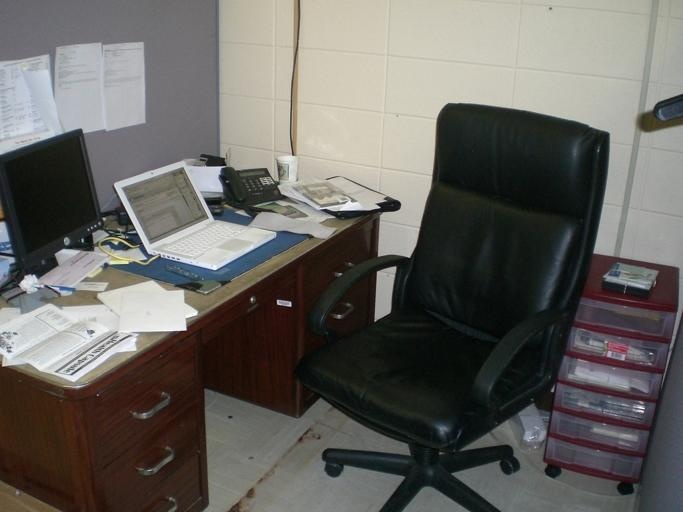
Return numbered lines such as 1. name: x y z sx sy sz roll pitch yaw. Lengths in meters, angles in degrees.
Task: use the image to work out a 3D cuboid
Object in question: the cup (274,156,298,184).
1. cup: -0.265 -0.436 2.787 0.134 0.139 0.126 -2 12 0
